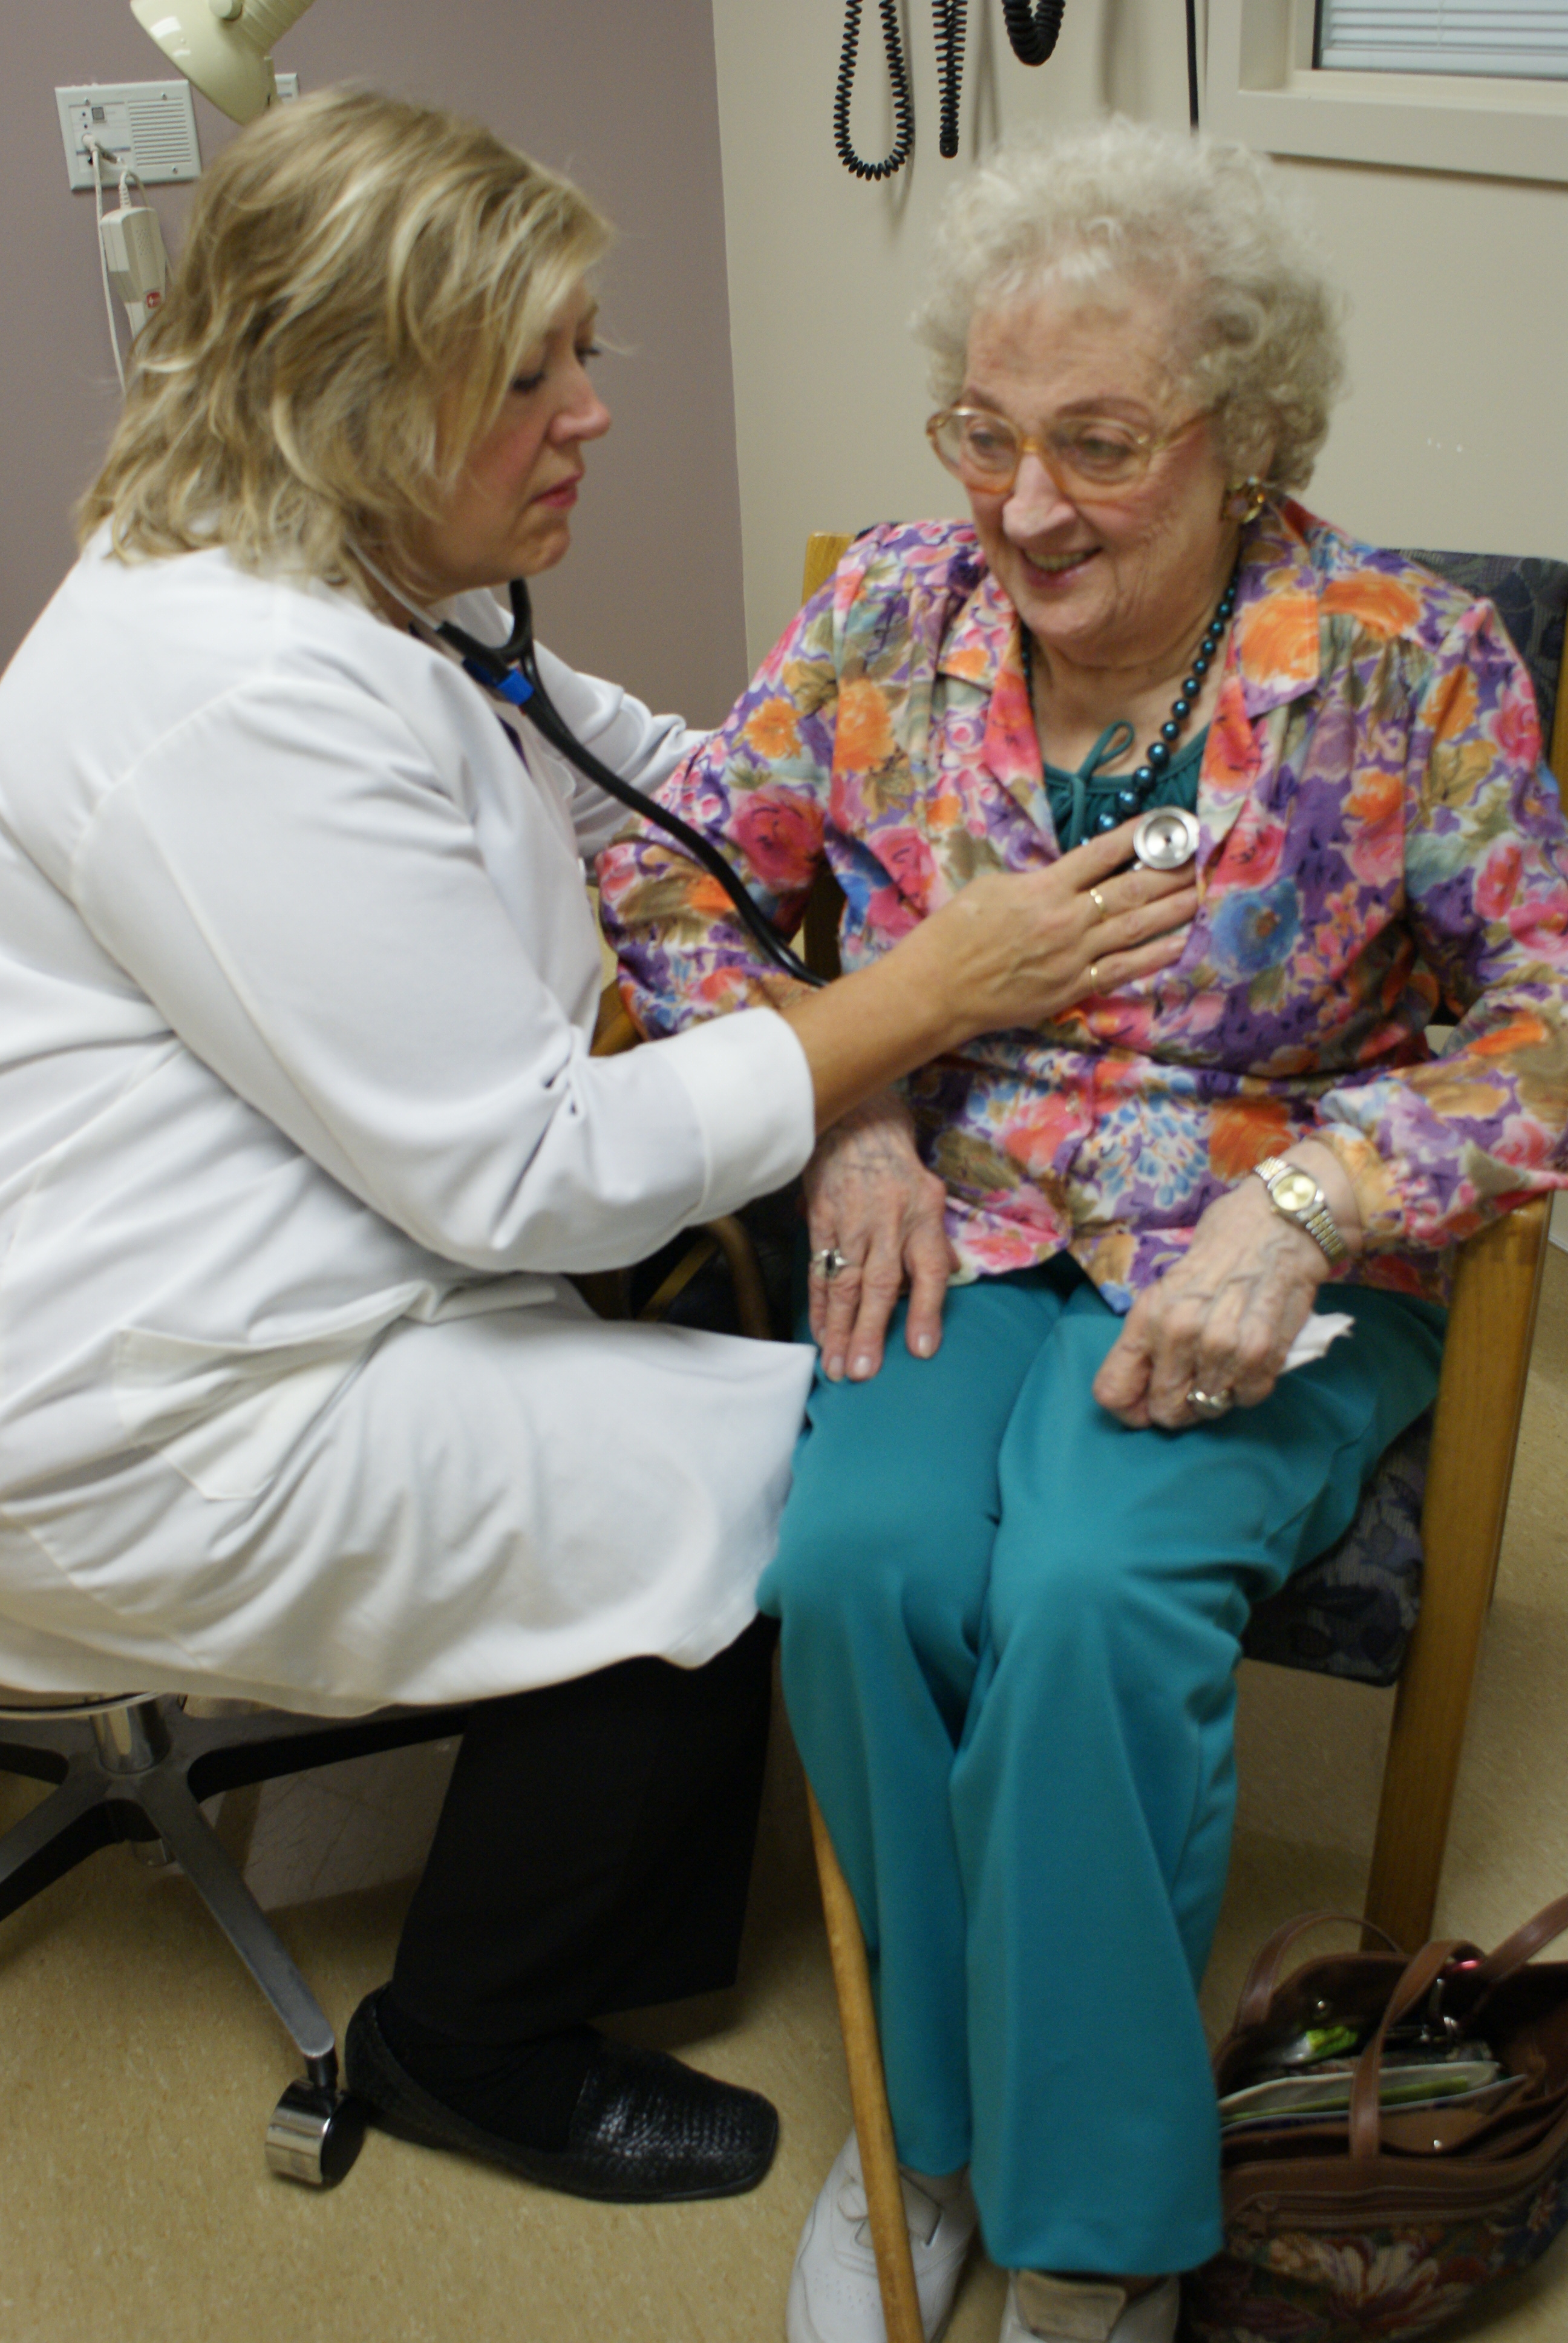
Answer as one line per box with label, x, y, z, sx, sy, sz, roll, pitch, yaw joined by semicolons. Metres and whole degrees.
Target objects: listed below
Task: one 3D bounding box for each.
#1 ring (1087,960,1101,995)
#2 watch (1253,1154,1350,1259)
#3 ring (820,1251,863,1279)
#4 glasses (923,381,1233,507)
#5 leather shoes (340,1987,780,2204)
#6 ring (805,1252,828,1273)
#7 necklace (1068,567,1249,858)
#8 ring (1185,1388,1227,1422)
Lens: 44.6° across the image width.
ring;0.187;-0.118;1.151;0.008;0.013;0.010;5;10;33
watch;0.290;0.020;1.106;0.031;0.060;0.064;-35;69;2
ring;0.038;0.059;1.227;0.020;0.009;0.014;5;61;-12
glasses;0.168;-0.420;1.106;0.148;0.054;0.056;5;26;18
leather shoes;-0.134;0.620;1.299;0.307;0.105;0.121;7;45;9
ring;0.022;0.059;1.237;0.010;0.011;0.014;-4;14;0
necklace;0.232;-0.271;1.218;0.022;0.211;0.069;20;-1;-19
ring;0.240;0.134;1.081;0.017;0.013;0.023;-3;-17;-2
